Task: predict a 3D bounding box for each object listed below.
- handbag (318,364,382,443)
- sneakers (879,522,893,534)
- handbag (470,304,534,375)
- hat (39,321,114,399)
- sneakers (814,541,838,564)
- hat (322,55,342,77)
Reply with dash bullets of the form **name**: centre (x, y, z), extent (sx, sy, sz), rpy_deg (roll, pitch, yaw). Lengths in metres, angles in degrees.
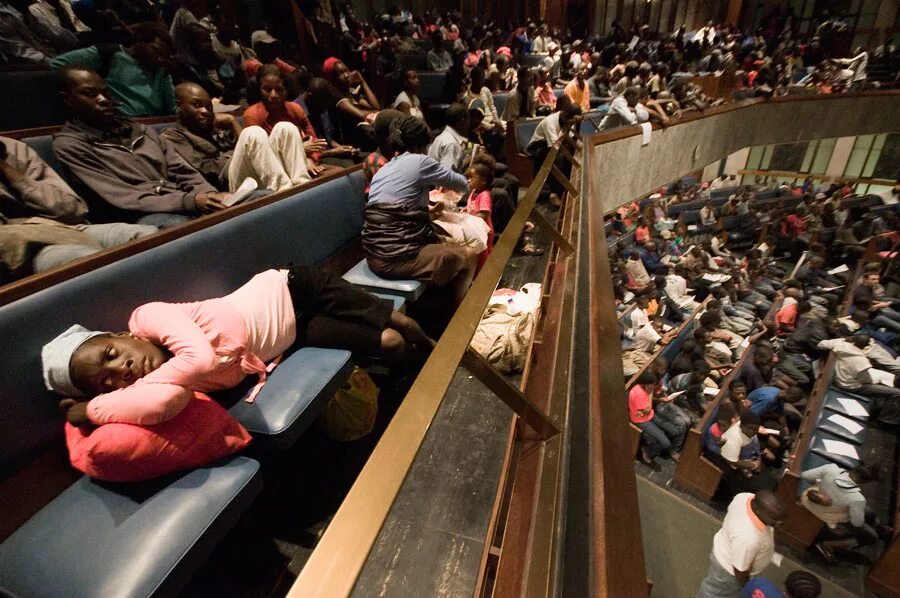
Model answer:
- **handbag**: centre (-0.891, 0.901, 4.858), extent (0.550, 0.895, 0.712), rpy_deg (0, 21, -14)
- **sneakers**: centre (5.079, 2.687, 6.325), extent (0.090, 0.093, 0.114), rpy_deg (-12, -6, 30)
- **handbag**: centre (0.387, 0.265, 3.765), extent (0.400, 0.166, 0.493), rpy_deg (40, 43, -17)
- **hat**: centre (-2.654, 0.445, 3.847), extent (0.319, 0.437, 0.367), rpy_deg (13, 34, 24)
- **sneakers**: centre (4.385, 2.951, 6.302), extent (0.239, 0.225, 0.129), rpy_deg (9, 33, 17)
- **hat**: centre (-1.491, -2.924, 6.828), extent (0.149, 0.195, 0.569), rpy_deg (-12, 32, -17)
